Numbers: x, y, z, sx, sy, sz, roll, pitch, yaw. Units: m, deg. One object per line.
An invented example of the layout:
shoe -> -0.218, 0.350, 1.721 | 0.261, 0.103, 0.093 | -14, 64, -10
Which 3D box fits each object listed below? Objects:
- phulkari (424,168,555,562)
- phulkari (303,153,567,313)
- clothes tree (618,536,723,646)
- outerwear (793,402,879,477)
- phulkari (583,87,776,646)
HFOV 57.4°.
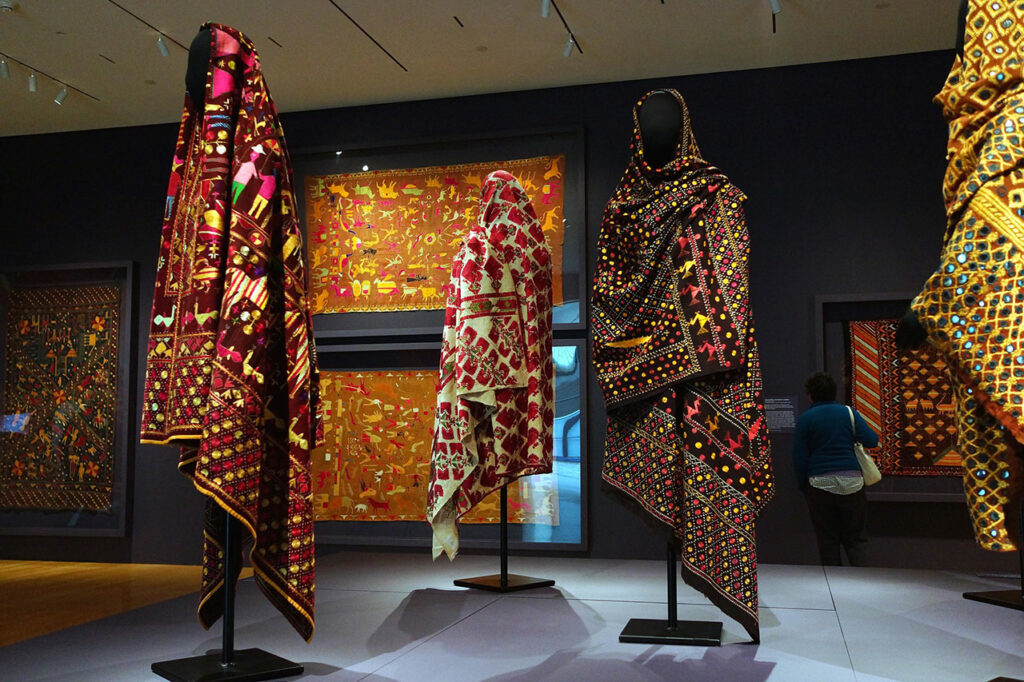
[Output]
phulkari -> -0.109, 0.089, 4.909 | 0.628, 1.992, 0.417 | 0, 1, 0
phulkari -> -0.472, -0.719, 6.299 | 1.454, 0.698, 0.027 | 0, -1, 13
clothes tree -> 0.707, 1.083, 4.180 | 0.539, 0.448, 0.452 | 0, -5, -2
outerwear -> 2.040, 0.628, 5.942 | 0.533, 0.439, 0.294 | -7, -11, 10
phulkari -> 0.741, 0.075, 4.156 | 0.789, 2.442, 0.403 | 0, 1, 16
